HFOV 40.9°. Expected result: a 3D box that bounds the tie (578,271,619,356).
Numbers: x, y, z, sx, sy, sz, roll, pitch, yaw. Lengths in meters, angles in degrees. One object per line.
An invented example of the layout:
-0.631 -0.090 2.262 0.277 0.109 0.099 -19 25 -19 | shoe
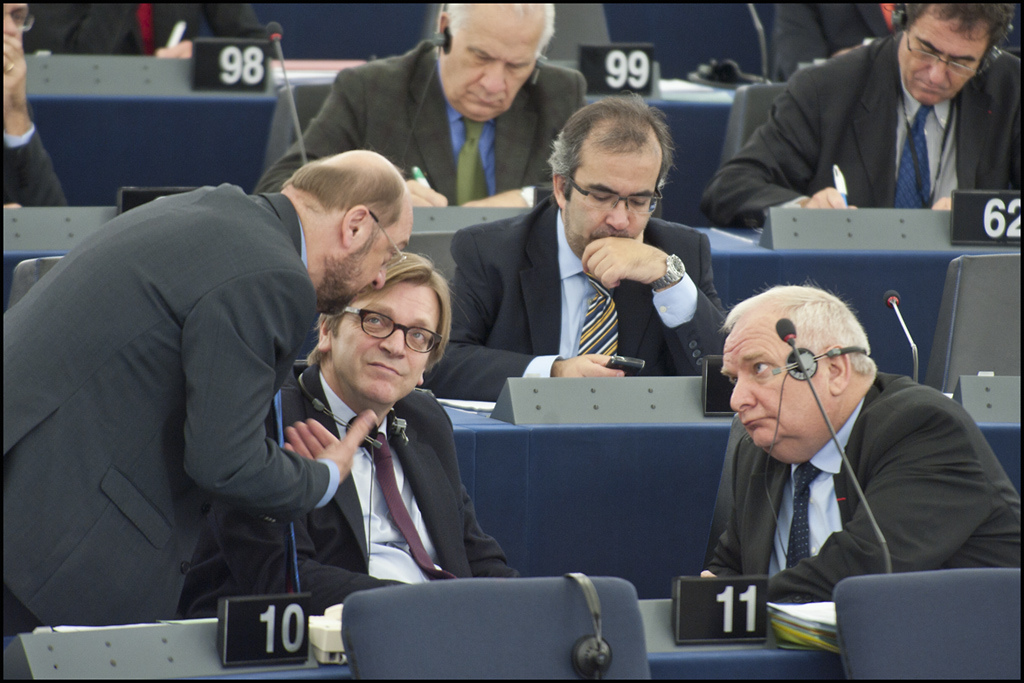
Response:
0.266 -0.041 4.161 0.128 0.034 0.373 -11 39 15 | tie

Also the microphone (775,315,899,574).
0.848 0.368 3.336 0.136 1.085 0.117 -29 38 -4 | microphone

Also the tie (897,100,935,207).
1.495 -0.686 5.038 0.110 0.051 0.487 -10 49 26 | tie

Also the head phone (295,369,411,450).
-0.394 0.202 3.433 0.186 0.234 0.070 -52 10 42 | head phone

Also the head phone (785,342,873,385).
0.793 0.044 3.411 0.146 0.063 0.120 -2 -8 7 | head phone

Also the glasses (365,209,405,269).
-0.305 -0.227 3.127 0.031 0.103 0.100 -30 -16 16 | glasses

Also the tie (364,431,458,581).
-0.263 0.431 3.472 0.051 0.383 0.056 -24 -2 30 | tie
